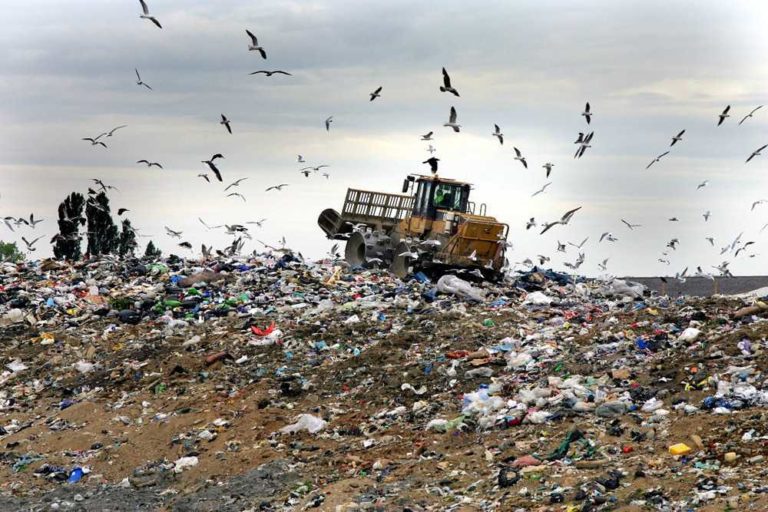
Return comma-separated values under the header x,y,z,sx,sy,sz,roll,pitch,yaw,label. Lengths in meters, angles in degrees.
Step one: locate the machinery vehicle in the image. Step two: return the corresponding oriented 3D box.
x,y,z,sx,sy,sz,roll,pitch,yaw,label
0.444,-0.653,19.539,2.885,1.517,3.982,4,-2,-35,machinery vehicle
